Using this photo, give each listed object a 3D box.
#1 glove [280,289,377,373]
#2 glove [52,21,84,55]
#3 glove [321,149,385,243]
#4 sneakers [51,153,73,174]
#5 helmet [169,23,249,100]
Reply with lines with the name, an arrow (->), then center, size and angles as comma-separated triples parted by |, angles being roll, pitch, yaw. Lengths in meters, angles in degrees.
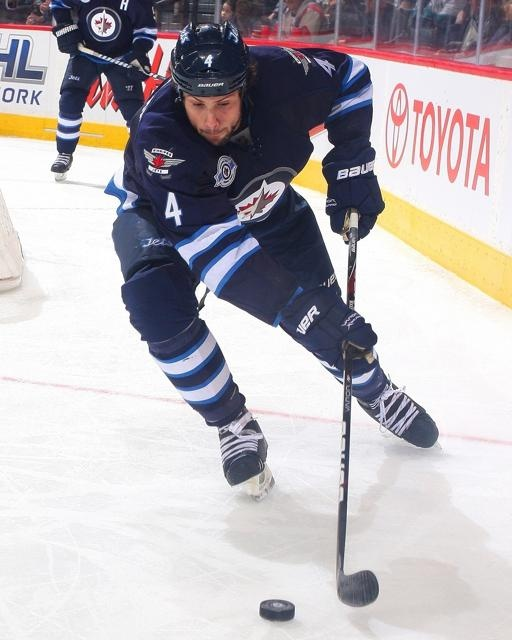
glove -> 0.157, 0.026, 1.542 | 0.235, 0.094, 0.153 | 32, 37, -16
glove -> -1.369, -2.066, 4.843 | 0.185, 0.204, 0.087 | -7, 25, 10
glove -> 0.272, -0.344, 1.826 | 0.187, 0.241, 0.096 | -3, 19, 2
sneakers -> -1.536, -1.232, 5.242 | 0.104, 0.106, 0.268 | 10, 33, -6
helmet -> -0.097, -0.581, 1.456 | 0.179, 0.125, 0.205 | 0, 41, 0
